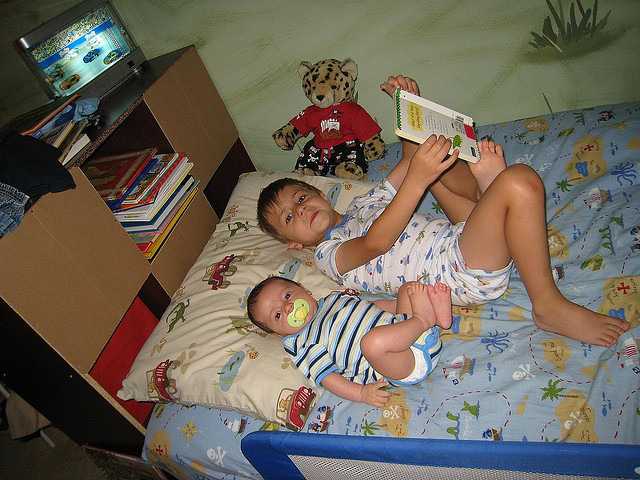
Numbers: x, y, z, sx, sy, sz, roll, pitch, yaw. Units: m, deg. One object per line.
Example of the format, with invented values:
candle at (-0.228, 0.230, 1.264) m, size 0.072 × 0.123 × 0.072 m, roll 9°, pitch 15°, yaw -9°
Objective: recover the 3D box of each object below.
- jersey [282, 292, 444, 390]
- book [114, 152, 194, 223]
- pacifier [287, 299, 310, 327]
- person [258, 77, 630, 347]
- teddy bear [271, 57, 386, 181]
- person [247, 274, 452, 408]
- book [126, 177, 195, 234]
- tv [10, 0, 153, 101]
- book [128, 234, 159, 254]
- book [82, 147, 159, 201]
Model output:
jersey at (0.139, 0.373, 1.544) m, size 0.408 × 0.140 × 0.351 m, roll 27°, pitch 55°, yaw 18°
book at (-0.720, -0.199, 2.015) m, size 0.279 × 0.061 × 0.289 m, roll -18°, pitch 27°, yaw 28°
pacifier at (-0.076, 0.262, 1.618) m, size 0.087 × 0.074 × 0.020 m, roll -47°, pitch 12°, yaw -7°
person at (0.375, -0.213, 1.789) m, size 1.377 × 0.786 × 0.657 m, roll 6°, pitch 45°, yaw 25°
teddy bear at (0.066, -0.647, 2.363) m, size 0.562 × 0.586 × 0.345 m, roll 7°, pitch 47°, yaw 19°
person at (0.101, 0.301, 1.681) m, size 0.740 × 0.346 × 0.507 m, roll 3°, pitch 31°, yaw 20°
book at (-0.708, -0.157, 2.035) m, size 0.250 × 0.029 × 0.182 m, roll -55°, pitch 9°, yaw -15°
tv at (-1.126, -0.866, 2.092) m, size 0.505 × 0.431 × 0.174 m, roll -44°, pitch 37°, yaw -20°
book at (-0.768, 0.008, 1.967) m, size 0.088 × 0.022 × 0.093 m, roll 4°, pitch 63°, yaw 2°
book at (-0.933, -0.289, 2.076) m, size 0.329 × 0.077 × 0.346 m, roll 13°, pitch 57°, yaw 28°
